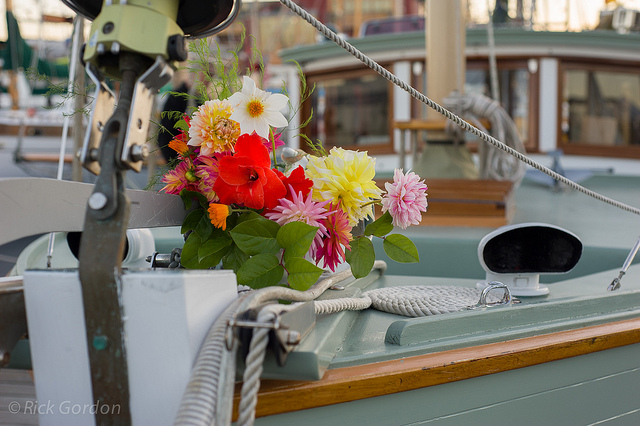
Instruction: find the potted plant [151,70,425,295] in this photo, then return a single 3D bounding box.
[{"bbox_3d":[-0.095,-0.109,3.130,0.873,0.559,0.835,5,30,-5],"label":"potted plant"}]
